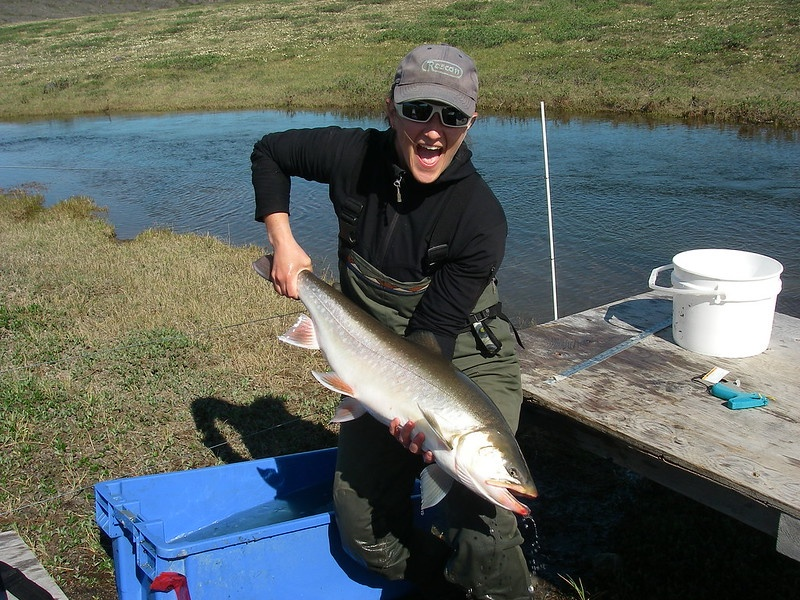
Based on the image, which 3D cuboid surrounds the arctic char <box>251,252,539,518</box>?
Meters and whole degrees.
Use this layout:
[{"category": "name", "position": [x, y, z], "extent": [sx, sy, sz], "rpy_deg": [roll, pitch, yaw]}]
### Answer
[{"category": "arctic char", "position": [-0.025, 0.558, 3.872], "extent": [2.219, 0.852, 0.682], "rpy_deg": [39, 2, 27]}]

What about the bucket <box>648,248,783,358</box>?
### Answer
[{"category": "bucket", "position": [2.751, -0.009, 5.532], "extent": [0.979, 0.693, 1.048], "rpy_deg": [-4, 24, 2]}]
